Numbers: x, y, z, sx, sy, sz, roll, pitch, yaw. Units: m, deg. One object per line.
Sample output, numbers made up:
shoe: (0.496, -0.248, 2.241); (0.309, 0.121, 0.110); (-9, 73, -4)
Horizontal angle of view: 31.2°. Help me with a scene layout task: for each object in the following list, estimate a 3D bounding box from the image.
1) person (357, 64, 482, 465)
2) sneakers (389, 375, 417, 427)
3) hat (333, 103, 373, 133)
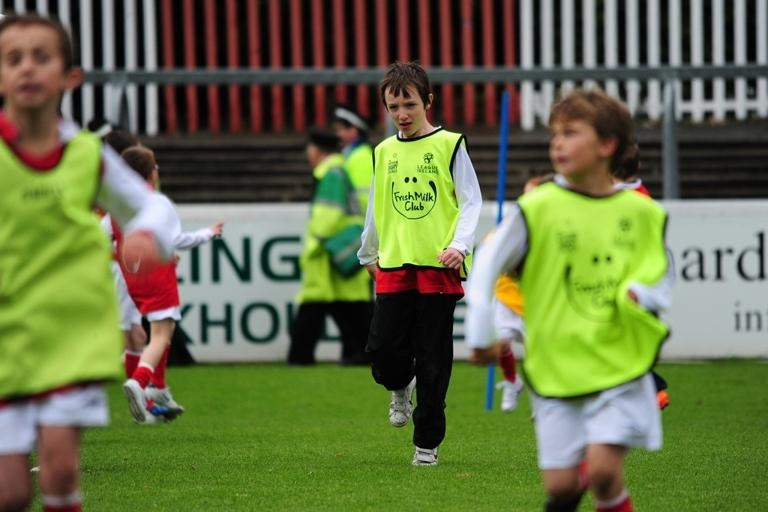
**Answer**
person: (0.249, 0.038, 9.892); (0.847, 2.816, 0.664); (0, 5, 2)
sneakers: (0.107, 1.082, 10.260); (0.128, 0.176, 0.459); (2, 48, 15)
hat: (-0.377, -1.536, 14.868); (0.314, 0.131, 0.249); (27, 3, 12)
